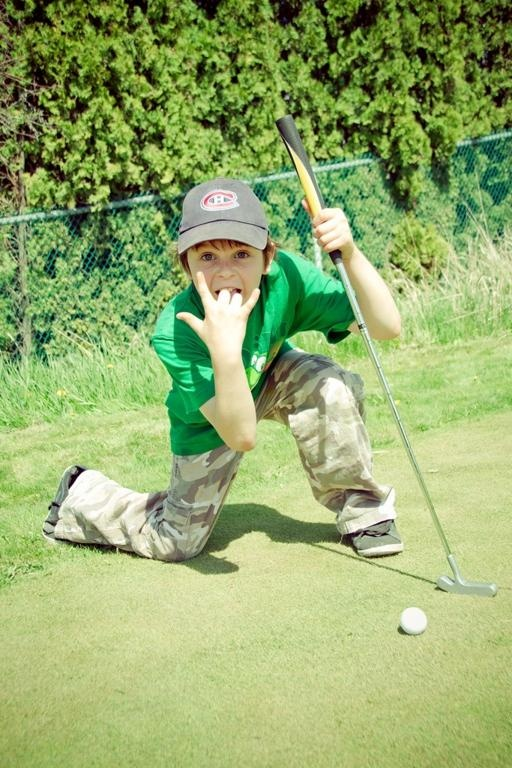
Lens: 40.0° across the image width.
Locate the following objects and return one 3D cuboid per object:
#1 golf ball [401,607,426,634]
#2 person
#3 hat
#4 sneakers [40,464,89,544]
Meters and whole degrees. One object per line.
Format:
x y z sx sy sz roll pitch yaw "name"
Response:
0.446 0.660 1.970 0.084 0.062 0.066 -6 13 2 "golf ball"
-0.056 -0.037 2.976 1.181 1.255 1.577 -6 4 -28 "person"
-0.101 -0.544 2.306 0.231 0.164 0.308 -1 6 3 "hat"
-0.810 0.491 2.937 0.120 0.327 0.134 25 5 -39 "sneakers"
